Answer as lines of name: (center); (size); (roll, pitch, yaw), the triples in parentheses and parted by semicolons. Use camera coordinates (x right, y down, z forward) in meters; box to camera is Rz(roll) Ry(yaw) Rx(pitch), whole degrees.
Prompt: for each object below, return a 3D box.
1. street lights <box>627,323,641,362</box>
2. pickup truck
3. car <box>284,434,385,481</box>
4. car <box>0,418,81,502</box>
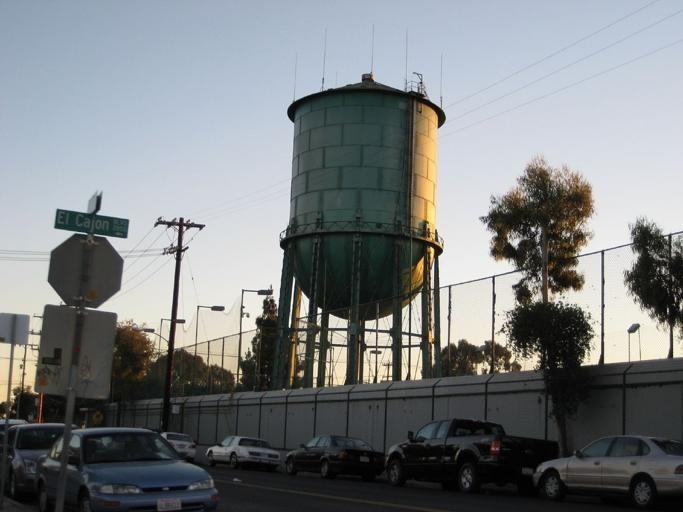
street lights: (9.721, 2.828, 25.023); (0.127, 1.237, 0.551); (6, -12, -28)
pickup truck: (3.637, 5.790, 22.586); (2.257, 1.550, 4.075); (8, -10, -37)
car: (-0.458, 7.747, 28.916); (1.925, 1.682, 5.082); (7, -13, -31)
car: (-7.822, 5.231, 19.476); (1.835, 1.778, 3.452); (4, -15, -22)
